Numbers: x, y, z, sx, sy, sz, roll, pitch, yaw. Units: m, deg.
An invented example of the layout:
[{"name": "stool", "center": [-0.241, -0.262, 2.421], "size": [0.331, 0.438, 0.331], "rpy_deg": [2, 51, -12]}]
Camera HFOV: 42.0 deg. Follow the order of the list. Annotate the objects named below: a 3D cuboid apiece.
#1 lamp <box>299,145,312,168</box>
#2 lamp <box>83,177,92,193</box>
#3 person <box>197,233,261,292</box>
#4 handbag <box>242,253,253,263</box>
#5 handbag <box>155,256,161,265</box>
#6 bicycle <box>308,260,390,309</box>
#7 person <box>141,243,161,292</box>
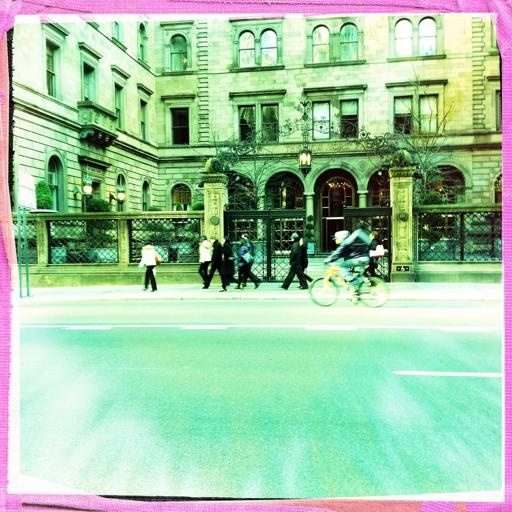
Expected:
[{"name": "lamp", "center": [1.686, -3.397, 22.839], "size": [0.362, 0.798, 0.769], "rpy_deg": [1, -2, 0]}, {"name": "lamp", "center": [-7.124, -3.061, 28.164], "size": [0.357, 0.913, 1.773], "rpy_deg": [1, -3, -15]}, {"name": "person", "center": [-0.384, 0.215, 19.793], "size": [1.012, 1.616, 2.378], "rpy_deg": [0, -3, 5]}, {"name": "handbag", "center": [-0.231, 0.051, 19.345], "size": [0.337, 0.281, 0.200], "rpy_deg": [2, -3, -34]}, {"name": "handbag", "center": [-2.855, 0.127, 19.331], "size": [0.190, 0.251, 0.213], "rpy_deg": [-3, -6, 14]}, {"name": "bicycle", "center": [1.978, 0.668, 14.334], "size": [1.569, 1.186, 0.859], "rpy_deg": [1, -9, 12]}, {"name": "person", "center": [-3.105, 0.312, 19.634], "size": [0.520, 1.448, 2.531], "rpy_deg": [1, -3, -9]}]
